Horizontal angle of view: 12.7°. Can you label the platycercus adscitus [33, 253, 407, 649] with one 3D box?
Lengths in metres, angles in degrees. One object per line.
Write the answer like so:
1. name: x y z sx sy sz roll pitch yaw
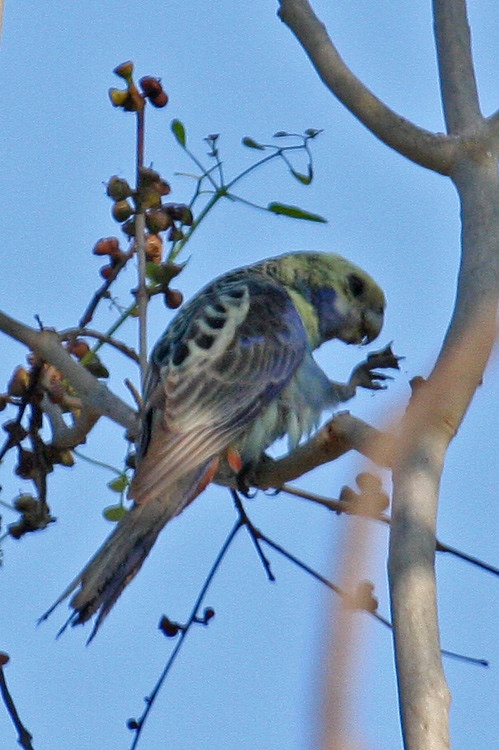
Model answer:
1. platycercus adscitus: -0.088 0.158 6.155 0.382 1.153 1.013 -18 -104 56
